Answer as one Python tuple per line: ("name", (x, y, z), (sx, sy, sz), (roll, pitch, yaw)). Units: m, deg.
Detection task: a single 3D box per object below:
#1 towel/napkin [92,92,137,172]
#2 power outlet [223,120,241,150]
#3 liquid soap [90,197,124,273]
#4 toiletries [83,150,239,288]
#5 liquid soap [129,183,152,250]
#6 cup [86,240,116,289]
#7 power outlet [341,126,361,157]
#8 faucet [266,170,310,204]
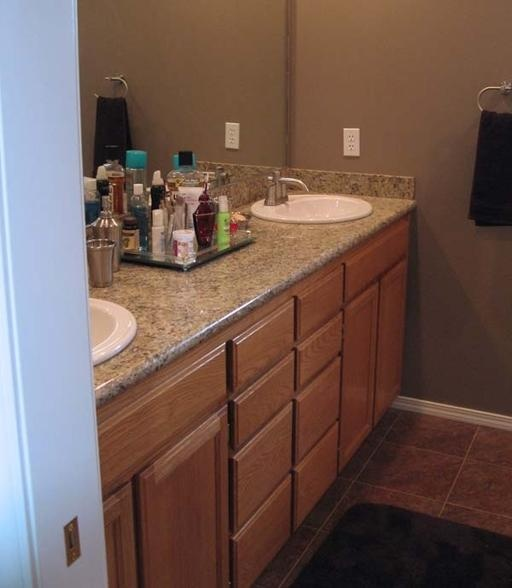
("towel/napkin", (-0.449, -0.499, 1.560), (0.011, 0.213, 0.173), (5, 17, 25))
("power outlet", (-0.107, -0.684, 2.164), (0.015, 0.164, 0.109), (14, 22, 35))
("liquid soap", (-0.405, -0.165, 1.387), (0.075, 0.195, 0.077), (10, 19, 41))
("toiletries", (-0.349, -0.233, 1.528), (0.414, 0.200, 0.438), (16, 26, 27))
("liquid soap", (-0.363, -0.246, 1.589), (0.061, 0.189, 0.193), (-5, 16, -12))
("cup", (-0.397, -0.077, 1.289), (0.077, 0.108, 0.082), (4, 20, -2))
("power outlet", (0.452, -0.727, 2.387), (0.102, 0.177, 0.028), (8, 23, 24))
("faucet", (0.128, -0.469, 2.252), (0.196, 0.175, 0.164), (8, 24, 18))
